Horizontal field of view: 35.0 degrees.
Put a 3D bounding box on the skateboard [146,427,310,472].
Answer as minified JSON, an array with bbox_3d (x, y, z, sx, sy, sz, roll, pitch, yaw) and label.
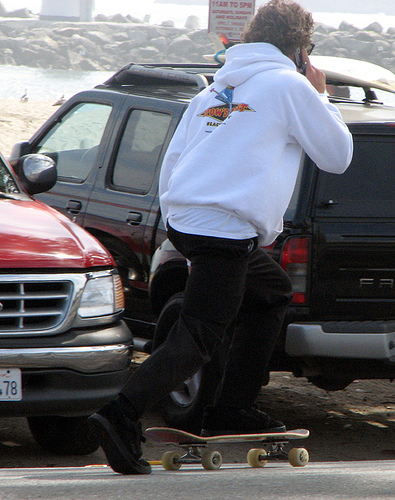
[{"bbox_3d":[0.143,0.787,2.489,0.714,0.123,0.234,1,-5,-21],"label":"skateboard"}]

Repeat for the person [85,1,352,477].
[{"bbox_3d":[0.159,-0.091,2.389,0.710,1.800,1.128,11,15,5],"label":"person"}]

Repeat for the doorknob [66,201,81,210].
[{"bbox_3d":[-1.009,-0.367,5.074,0.127,0.065,0.085,5,11,32],"label":"doorknob"}]

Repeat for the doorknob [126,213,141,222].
[{"bbox_3d":[-0.477,-0.259,4.633,0.108,0.055,0.075,10,17,30],"label":"doorknob"}]

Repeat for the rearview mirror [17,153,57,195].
[{"bbox_3d":[-1.101,-0.520,4.275,0.239,0.246,0.242,2,15,-21],"label":"rearview mirror"}]

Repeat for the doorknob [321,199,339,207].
[{"bbox_3d":[0.776,-0.283,3.702,0.113,0.042,0.029,-1,17,-27],"label":"doorknob"}]
